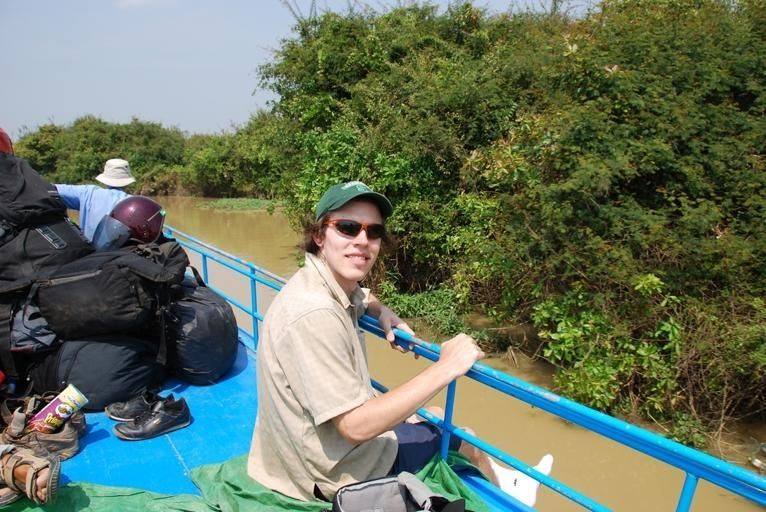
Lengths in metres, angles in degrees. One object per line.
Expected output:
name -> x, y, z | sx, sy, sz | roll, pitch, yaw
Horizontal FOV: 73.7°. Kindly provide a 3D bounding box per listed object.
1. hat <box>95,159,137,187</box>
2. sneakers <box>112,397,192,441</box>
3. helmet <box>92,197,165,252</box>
hat -> -3.548, -1.041, 6.784 | 0.470, 0.293, 0.552 | 13, 17, -15
sneakers -> -2.015, 1.460, 4.578 | 0.683, 0.296, 0.244 | -9, 45, -36
helmet -> -2.639, -0.302, 5.347 | 0.637, 0.528, 0.491 | 7, -15, -33
